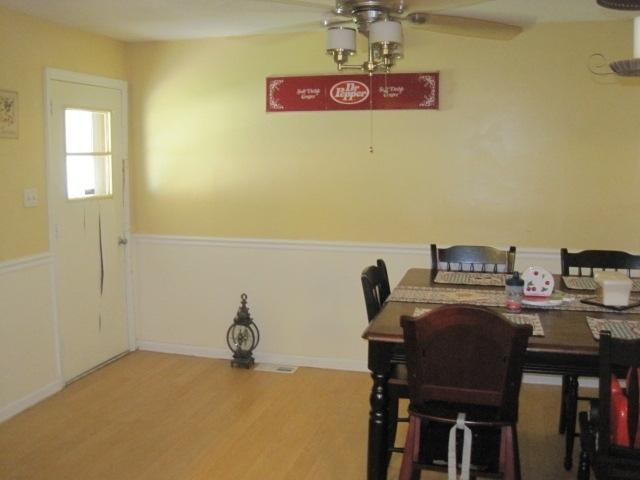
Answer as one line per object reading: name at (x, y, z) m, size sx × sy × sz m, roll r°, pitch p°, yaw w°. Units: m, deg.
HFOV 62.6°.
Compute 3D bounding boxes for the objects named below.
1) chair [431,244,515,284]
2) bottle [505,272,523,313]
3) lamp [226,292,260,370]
chair at (1.090, 0.240, 3.714) m, size 0.593 × 0.278 × 0.345 m, roll 2°, pitch 17°, yaw 6°
bottle at (1.107, 0.292, 2.983) m, size 0.099 × 0.221 × 0.101 m, roll 0°, pitch 7°, yaw 0°
lamp at (-0.711, 0.787, 4.664) m, size 0.318 × 0.624 × 0.298 m, roll 1°, pitch 13°, yaw 5°
